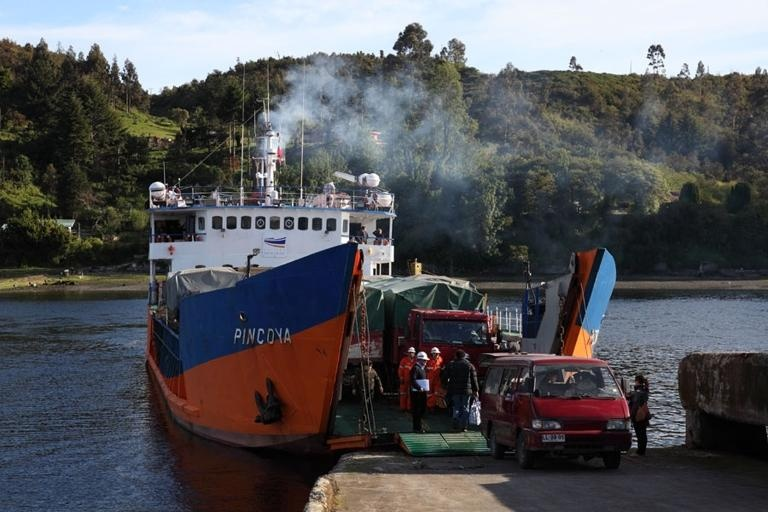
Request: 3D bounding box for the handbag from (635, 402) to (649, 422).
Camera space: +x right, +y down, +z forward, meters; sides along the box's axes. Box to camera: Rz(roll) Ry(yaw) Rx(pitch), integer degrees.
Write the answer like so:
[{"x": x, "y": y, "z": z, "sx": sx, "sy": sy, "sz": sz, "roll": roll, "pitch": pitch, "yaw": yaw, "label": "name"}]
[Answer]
[{"x": 20.932, "y": 12.757, "z": 98.739, "sx": 1.281, "sy": 1.675, "sz": 0.378, "roll": 0, "pitch": 3, "yaw": -15, "label": "handbag"}]
